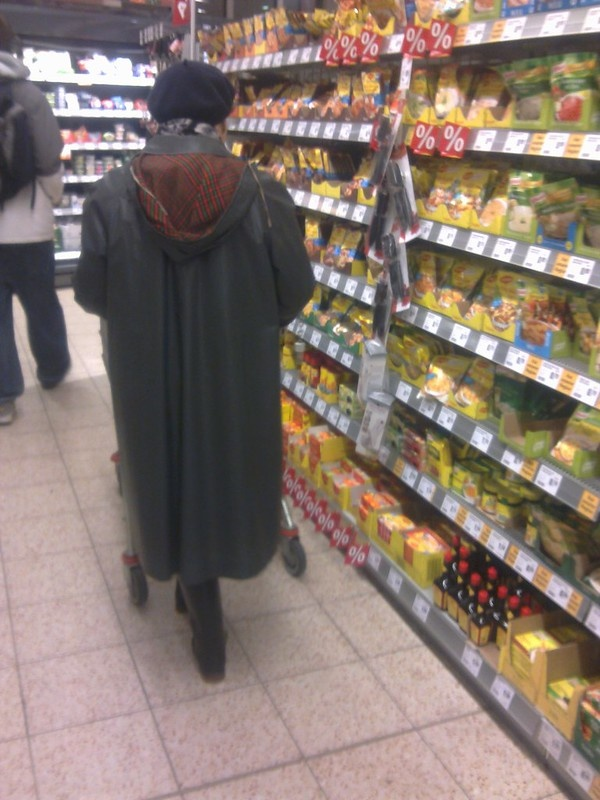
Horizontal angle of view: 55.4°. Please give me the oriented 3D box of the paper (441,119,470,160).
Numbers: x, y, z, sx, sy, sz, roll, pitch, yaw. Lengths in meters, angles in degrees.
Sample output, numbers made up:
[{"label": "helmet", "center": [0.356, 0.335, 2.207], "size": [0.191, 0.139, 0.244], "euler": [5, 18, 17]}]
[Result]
[{"label": "paper", "center": [0.420, -0.715, 1.571], "size": [0.033, 0.095, 0.119], "euler": [-3, 14, -20]}]

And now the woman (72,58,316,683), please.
[{"label": "woman", "center": [-0.287, 0.066, 1.520], "size": [0.614, 1.745, 0.388], "euler": [3, 12, 4]}]

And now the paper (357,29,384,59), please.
[{"label": "paper", "center": [0.236, -1.179, 1.888], "size": [0.014, 0.102, 0.112], "euler": [-6, 43, -24]}]

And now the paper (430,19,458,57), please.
[{"label": "paper", "center": [0.384, -0.970, 1.522], "size": [0.008, 0.112, 0.096], "euler": [-6, 26, -31]}]

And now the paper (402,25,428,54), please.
[{"label": "paper", "center": [0.329, -1.023, 1.621], "size": [0.008, 0.106, 0.089], "euler": [-22, 35, -36]}]

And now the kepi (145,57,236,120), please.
[{"label": "kepi", "center": [-0.246, -0.715, 1.328], "size": [0.204, 0.141, 0.133], "euler": [-2, 14, -17]}]

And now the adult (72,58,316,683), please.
[{"label": "adult", "center": [-0.285, 0.067, 1.514], "size": [0.617, 1.745, 0.378], "euler": [2, 12, 2]}]

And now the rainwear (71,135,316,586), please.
[{"label": "rainwear", "center": [-0.287, -0.078, 1.548], "size": [0.470, 1.181, 0.371], "euler": [-4, 22, -15]}]
